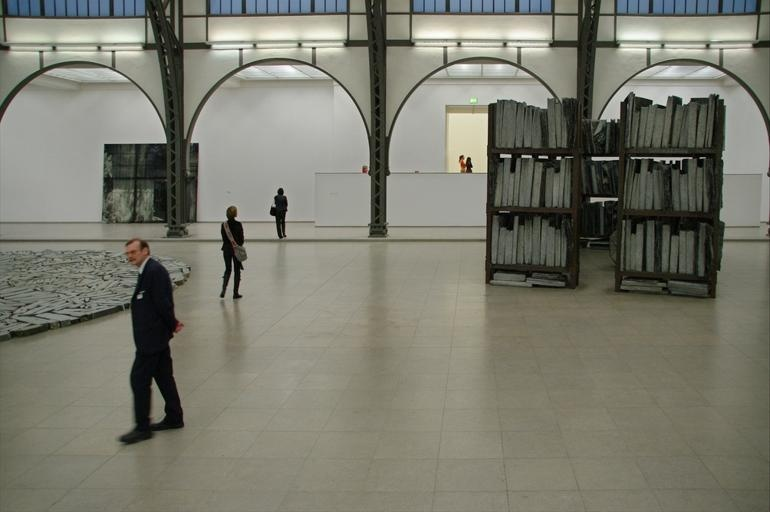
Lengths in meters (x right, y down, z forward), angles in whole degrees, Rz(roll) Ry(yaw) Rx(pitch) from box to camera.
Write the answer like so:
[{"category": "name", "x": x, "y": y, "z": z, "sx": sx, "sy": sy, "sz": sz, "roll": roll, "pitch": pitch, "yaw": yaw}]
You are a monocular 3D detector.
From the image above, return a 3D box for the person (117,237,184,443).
[{"category": "person", "x": -2.827, "y": 1.138, "z": 7.278, "sx": 0.711, "sy": 2.114, "sz": 0.330, "roll": -5, "pitch": 11, "yaw": -24}]

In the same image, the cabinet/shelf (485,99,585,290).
[{"category": "cabinet/shelf", "x": 3.692, "y": -1.759, "z": 15.375, "sx": 2.173, "sy": 4.419, "sz": 1.691, "roll": 1, "pitch": 19, "yaw": 10}]

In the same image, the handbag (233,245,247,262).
[{"category": "handbag", "x": -3.301, "y": -0.070, "z": 13.670, "sx": 0.252, "sy": 0.363, "sz": 0.670, "roll": -3, "pitch": 12, "yaw": -15}]

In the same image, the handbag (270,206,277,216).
[{"category": "handbag", "x": -4.509, "y": -1.813, "z": 24.262, "sx": 0.242, "sy": 0.325, "sz": 0.700, "roll": -2, "pitch": 11, "yaw": -10}]

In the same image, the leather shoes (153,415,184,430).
[{"category": "leather shoes", "x": -2.689, "y": 2.060, "z": 7.548, "sx": 0.437, "sy": 0.197, "sz": 0.153, "roll": 4, "pitch": -1, "yaw": 1}]

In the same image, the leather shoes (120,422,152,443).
[{"category": "leather shoes", "x": -2.987, "y": 2.144, "z": 7.311, "sx": 0.404, "sy": 0.171, "sz": 0.166, "roll": -1, "pitch": -2, "yaw": -9}]
